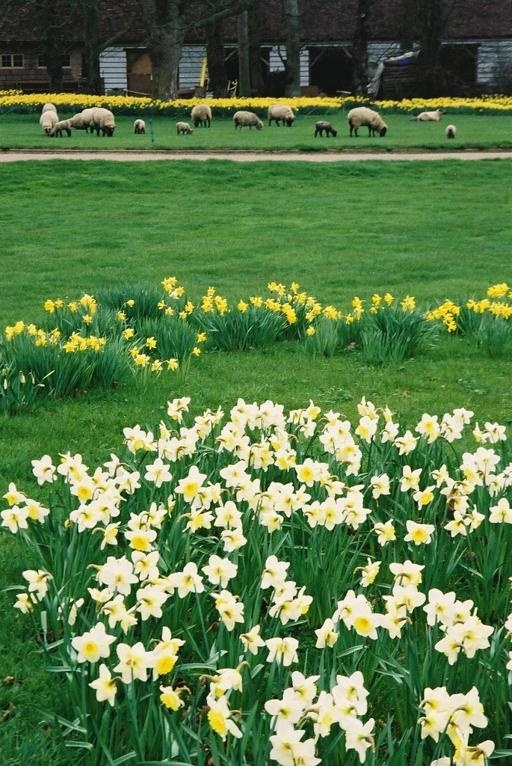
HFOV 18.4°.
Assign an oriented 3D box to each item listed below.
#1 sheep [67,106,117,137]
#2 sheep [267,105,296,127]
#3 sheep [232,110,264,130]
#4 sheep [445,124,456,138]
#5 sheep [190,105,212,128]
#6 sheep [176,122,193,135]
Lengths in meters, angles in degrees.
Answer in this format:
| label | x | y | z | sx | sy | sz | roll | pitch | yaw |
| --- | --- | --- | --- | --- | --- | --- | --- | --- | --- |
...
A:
| label | x | y | z | sx | sy | sz | roll | pitch | yaw |
| --- | --- | --- | --- | --- | --- | --- | --- | --- | --- |
| sheep | -3.314 | -5.371 | 32.222 | 0.513 | 0.616 | 2.001 | -7 | 18 | -22 |
| sheep | 0.598 | -6.059 | 35.461 | 0.325 | 0.583 | 0.810 | -10 | 16 | -36 |
| sheep | -0.152 | -5.796 | 34.528 | 0.603 | 0.522 | 1.388 | -1 | 17 | -1 |
| sheep | 3.828 | -4.937 | 30.702 | 0.182 | 0.296 | 0.471 | -3 | 9 | 3 |
| sheep | -1.206 | -6.142 | 35.654 | 0.243 | 0.477 | 0.863 | -2 | 31 | -9 |
| sheep | -1.458 | -5.253 | 32.357 | 0.312 | 0.249 | 0.583 | -1 | 16 | -2 |
